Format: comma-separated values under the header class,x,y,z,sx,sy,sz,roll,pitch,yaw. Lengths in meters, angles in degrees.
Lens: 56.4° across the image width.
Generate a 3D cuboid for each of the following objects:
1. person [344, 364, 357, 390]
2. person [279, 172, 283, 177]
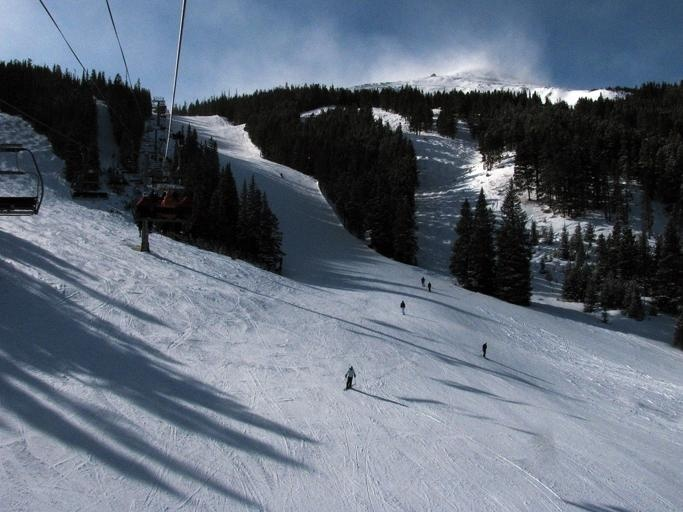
class,x,y,z,sx,sy,sz,roll,pitch,yaw
person,0.567,7.685,41.229,0.666,1.341,1.965,4,9,2
person,-9.662,-12.917,101.903,0.323,0.680,1.645,-3,24,-13
